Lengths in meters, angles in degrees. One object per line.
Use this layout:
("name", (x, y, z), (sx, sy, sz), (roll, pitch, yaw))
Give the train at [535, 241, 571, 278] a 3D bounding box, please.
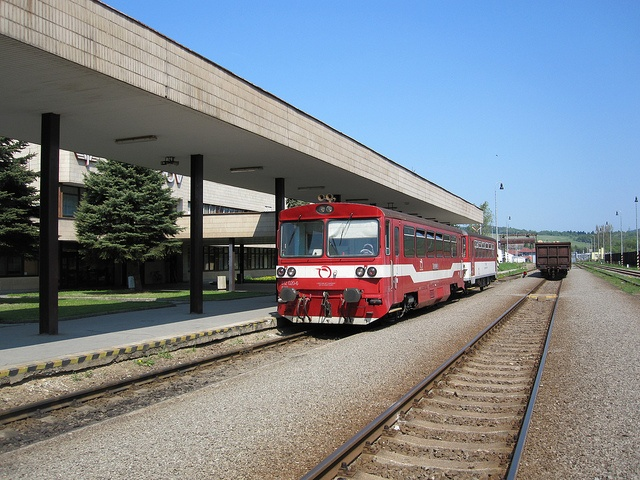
("train", (23.014, 1.833, 44.769), (2.386, 2.472, 4.937), (-1, -6, 16))
